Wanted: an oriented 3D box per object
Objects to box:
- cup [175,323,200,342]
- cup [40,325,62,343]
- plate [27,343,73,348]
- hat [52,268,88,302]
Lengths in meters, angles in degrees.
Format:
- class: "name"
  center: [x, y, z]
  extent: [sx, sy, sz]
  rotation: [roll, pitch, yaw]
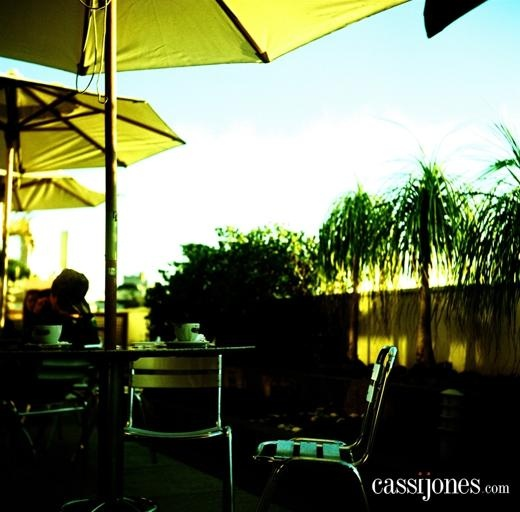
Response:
- class: "cup"
  center: [-0.418, 0.433, 3.319]
  extent: [0.133, 0.102, 0.243]
  rotation: [3, -7, -9]
- class: "cup"
  center: [-1.086, 0.403, 3.011]
  extent: [0.076, 0.080, 0.077]
  rotation: [-2, -1, 0]
- class: "plate"
  center: [-1.071, 0.451, 2.944]
  extent: [0.215, 0.022, 0.269]
  rotation: [4, -7, -19]
- class: "hat"
  center: [-1.430, 0.242, 4.393]
  extent: [0.183, 0.250, 0.256]
  rotation: [6, 16, -24]
